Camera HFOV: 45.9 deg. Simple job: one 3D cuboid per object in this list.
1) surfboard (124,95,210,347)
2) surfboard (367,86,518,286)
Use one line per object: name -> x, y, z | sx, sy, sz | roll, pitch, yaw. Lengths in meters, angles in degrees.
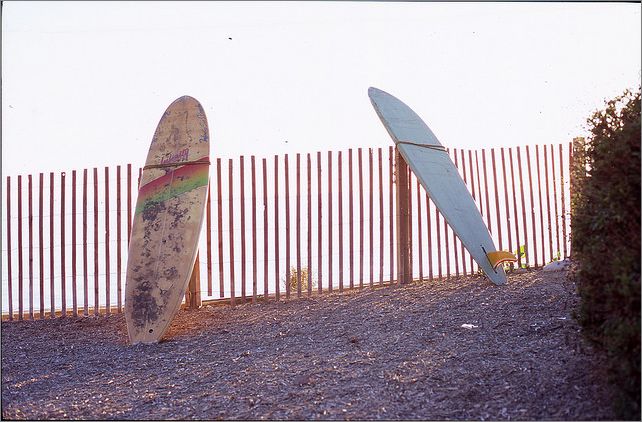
surfboard -> -1.835, 0.012, 8.982 | 1.273, 2.949, 0.840 | -7, -6, -20
surfboard -> 1.247, -0.018, 8.835 | 0.568, 2.756, 0.553 | -10, -30, -35
